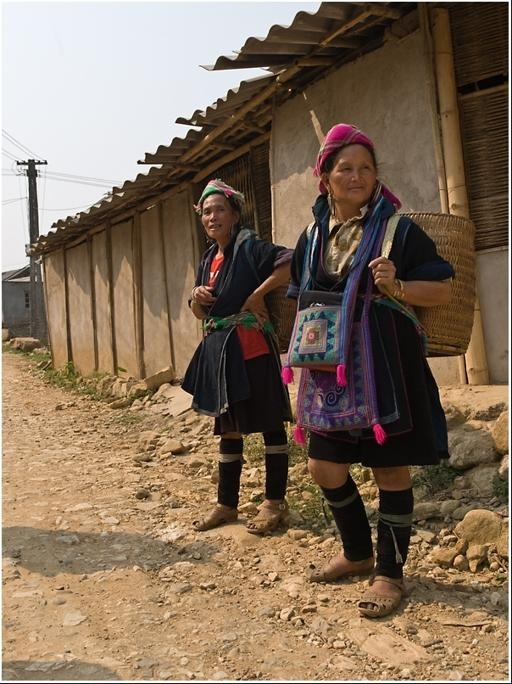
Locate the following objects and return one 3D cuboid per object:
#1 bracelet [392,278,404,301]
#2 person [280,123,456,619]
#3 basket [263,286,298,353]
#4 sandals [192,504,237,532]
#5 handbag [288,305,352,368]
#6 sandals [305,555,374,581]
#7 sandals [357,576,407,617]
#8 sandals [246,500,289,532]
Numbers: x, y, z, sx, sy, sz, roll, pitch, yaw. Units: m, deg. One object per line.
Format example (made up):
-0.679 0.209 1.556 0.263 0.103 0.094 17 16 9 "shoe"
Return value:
0.489 -0.178 2.097 0.030 0.058 0.044 2 -3 -33 "bracelet"
0.393 0.087 2.285 0.436 1.773 0.633 -10 6 -43 "person"
0.131 -0.123 3.068 0.202 0.289 0.088 -4 7 3 "basket"
-0.208 0.934 3.294 0.256 0.102 0.103 -5 2 -28 "sandals"
0.235 -0.017 2.176 0.212 0.239 0.090 -5 -26 40 "handbag"
0.341 0.923 2.523 0.256 0.102 0.107 -1 -2 1 "sandals"
0.460 0.913 2.215 0.117 0.109 0.201 -2 5 41 "sandals"
0.059 0.899 3.130 0.100 0.100 0.248 -10 -10 34 "sandals"
